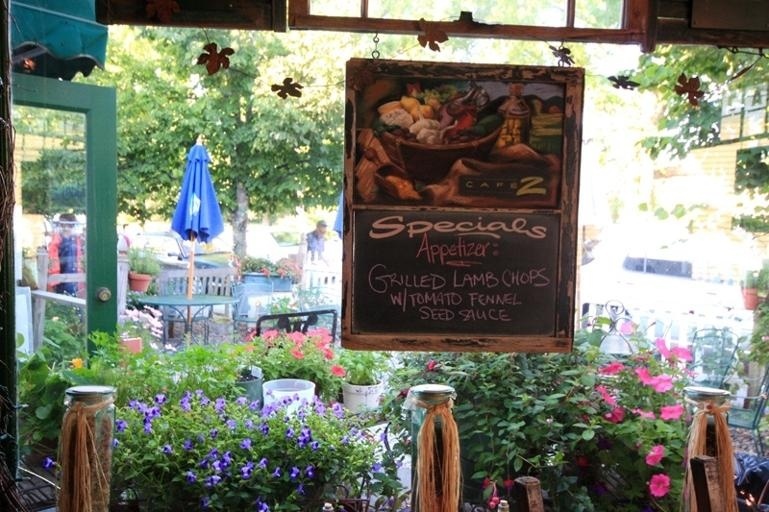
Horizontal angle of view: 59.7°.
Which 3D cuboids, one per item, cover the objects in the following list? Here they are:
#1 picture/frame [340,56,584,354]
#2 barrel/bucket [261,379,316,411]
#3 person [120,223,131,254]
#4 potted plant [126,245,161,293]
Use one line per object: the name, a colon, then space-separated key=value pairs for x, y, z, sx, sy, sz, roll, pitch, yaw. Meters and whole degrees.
picture/frame: x=0.476 y=-0.349 z=4.366 sx=1.896 sy=2.324 sz=0.157 roll=1 pitch=-1 yaw=-7
barrel/bucket: x=-0.727 y=1.048 z=5.144 sx=0.275 sy=0.198 sz=0.274 roll=1 pitch=-3 yaw=0
person: x=-3.989 y=-0.282 z=10.327 sx=0.177 sy=0.572 sz=1.395 roll=2 pitch=-4 yaw=-21
potted plant: x=-3.331 y=0.182 z=9.125 sx=0.586 sy=0.641 sz=0.618 roll=0 pitch=-2 yaw=26
